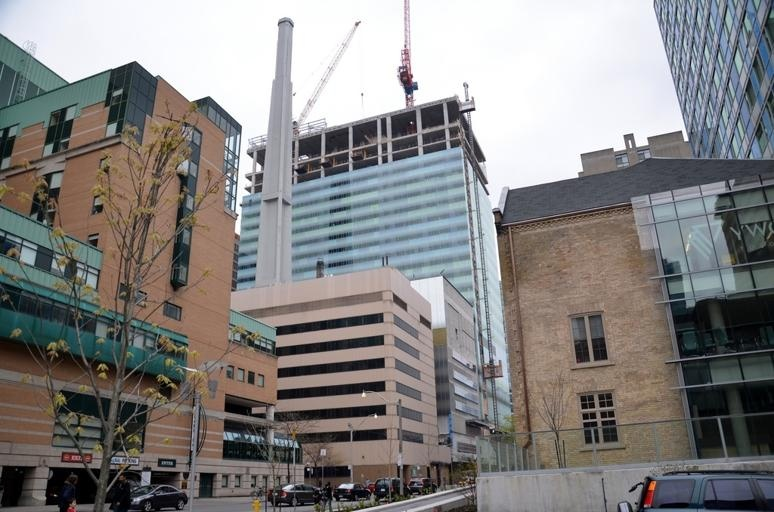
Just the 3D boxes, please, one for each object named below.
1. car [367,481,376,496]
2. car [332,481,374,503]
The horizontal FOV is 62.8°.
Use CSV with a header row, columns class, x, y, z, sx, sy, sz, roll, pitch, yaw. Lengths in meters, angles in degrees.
class,x,y,z,sx,sy,sz,roll,pitch,yaw
car,-1.743,25.156,68.585,1.206,0.975,1.999,0,-22,4
car,-3.455,23.796,63.923,1.777,1.250,3.937,-10,-23,29
